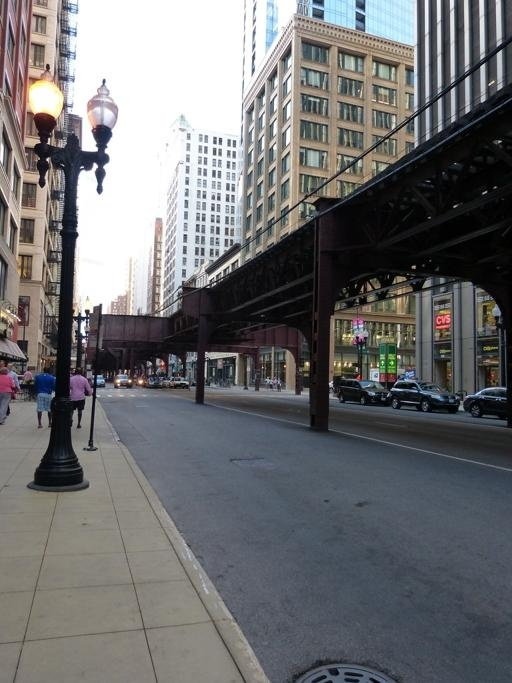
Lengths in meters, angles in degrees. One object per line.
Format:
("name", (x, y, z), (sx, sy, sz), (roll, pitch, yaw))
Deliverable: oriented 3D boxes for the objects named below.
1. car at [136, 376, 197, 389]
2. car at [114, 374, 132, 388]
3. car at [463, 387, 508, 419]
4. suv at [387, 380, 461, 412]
("car", (-10.023, 4.610, 67.766), (4.875, 1.367, 3.825), (-1, -2, 6))
("car", (-15.162, 4.364, 66.999), (1.237, 1.278, 3.037), (1, -15, -17))
("car", (10.086, 2.651, 25.719), (0.890, 1.332, 2.558), (-1, -2, -9))
("suv", (8.854, 2.870, 31.123), (1.501, 1.678, 3.669), (6, -9, -22))
